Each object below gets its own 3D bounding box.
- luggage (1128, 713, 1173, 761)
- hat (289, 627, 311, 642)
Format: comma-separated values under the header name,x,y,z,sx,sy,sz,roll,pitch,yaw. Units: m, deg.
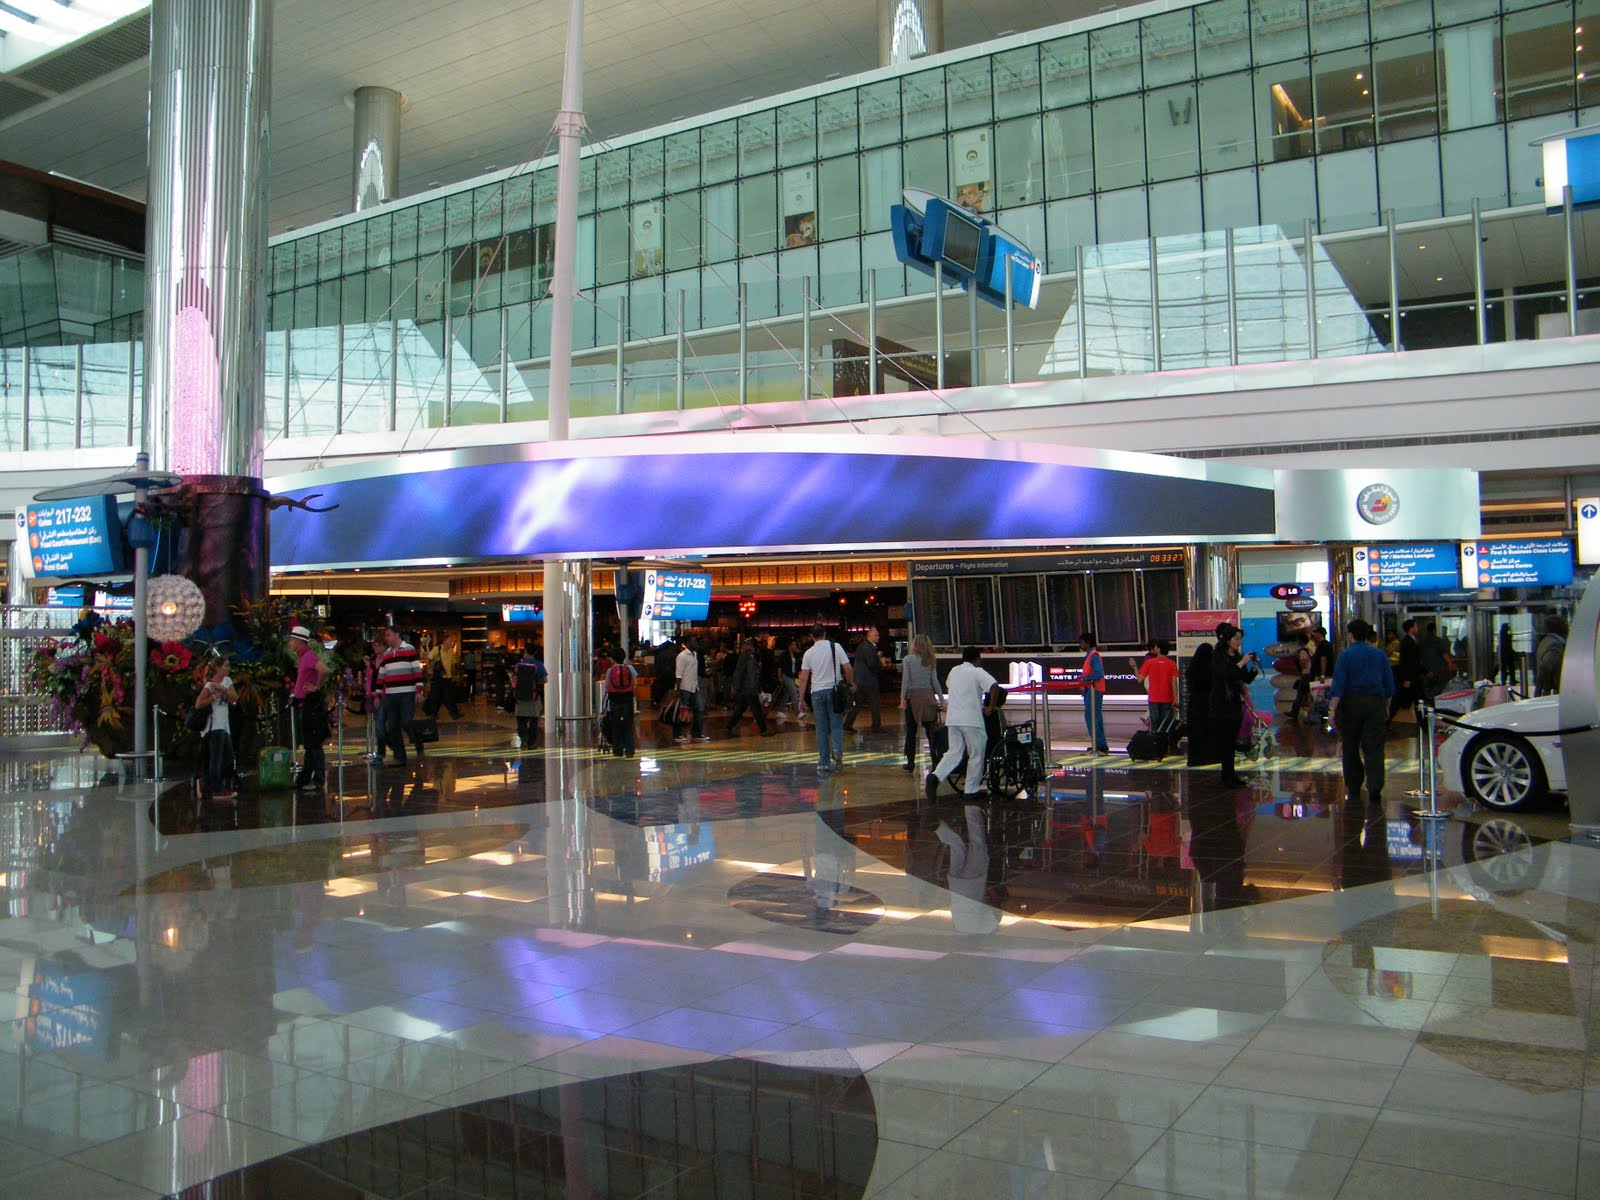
name,x,y,z,sx,sy,sz,roll,pitch,yaw
luggage,4.695,1.906,17.810,0.520,0.638,0.658,2,-17,25
hat,-6.377,0.404,17.093,0.200,0.167,0.434,-1,1,-7
